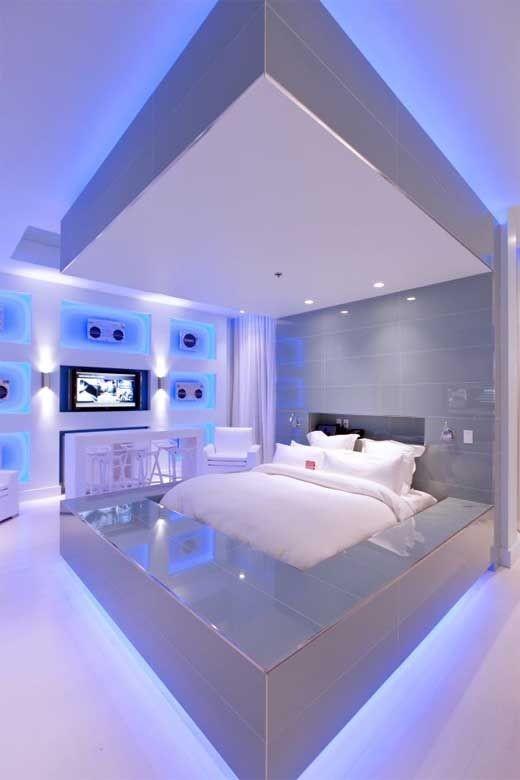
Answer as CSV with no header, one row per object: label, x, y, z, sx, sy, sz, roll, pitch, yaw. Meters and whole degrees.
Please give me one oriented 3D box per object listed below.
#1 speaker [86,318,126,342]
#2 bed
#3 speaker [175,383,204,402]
speaker,-1.746,-0.665,5.512,0.149,0.273,0.524,3,7,32
bed,0.131,0.697,2.857,1.098,0.169,1.290,-6,8,-42
speaker,-0.929,0.027,6.430,0.114,0.301,0.549,3,7,30
